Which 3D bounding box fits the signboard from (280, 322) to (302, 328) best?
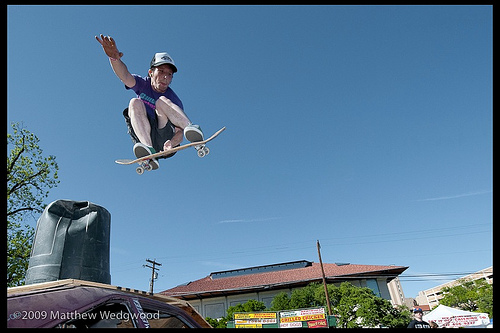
[{"bbox_3d":[2.227,8.536,18.277,1.179,0.305,0.390,-19,-31,22],"label":"signboard"}]
